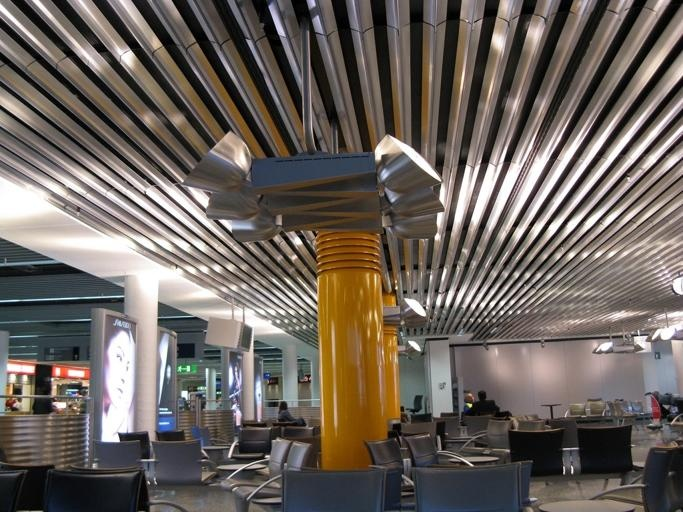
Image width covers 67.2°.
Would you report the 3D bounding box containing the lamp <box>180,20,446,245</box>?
[{"bbox_3d":[-0.166,-0.860,4.958,2.196,1.465,1.034,-1,-43,1],"label":"lamp"}]
